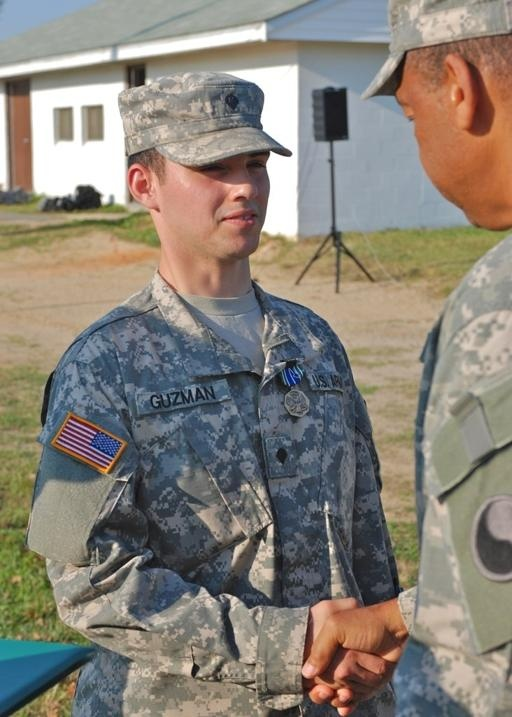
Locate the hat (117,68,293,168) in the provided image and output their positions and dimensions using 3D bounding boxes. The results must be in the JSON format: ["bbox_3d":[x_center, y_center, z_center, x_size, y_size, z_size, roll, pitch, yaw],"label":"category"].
[{"bbox_3d":[-0.108,-0.443,1.936,0.294,0.124,0.216,2,6,38],"label":"hat"}]
